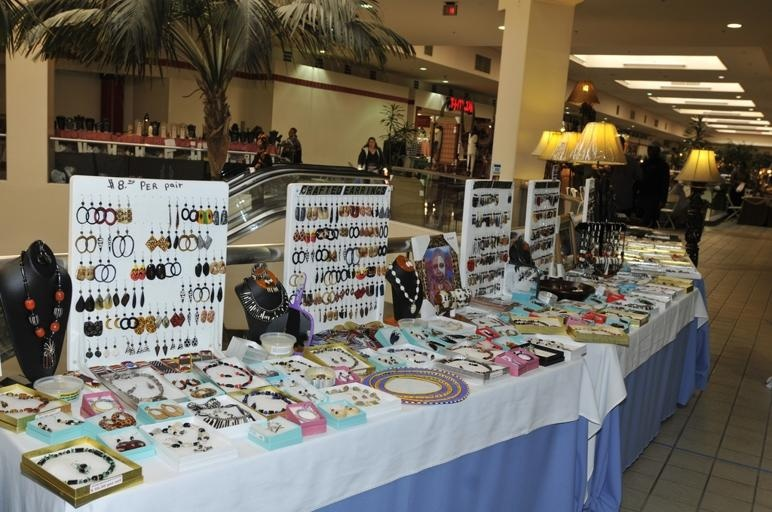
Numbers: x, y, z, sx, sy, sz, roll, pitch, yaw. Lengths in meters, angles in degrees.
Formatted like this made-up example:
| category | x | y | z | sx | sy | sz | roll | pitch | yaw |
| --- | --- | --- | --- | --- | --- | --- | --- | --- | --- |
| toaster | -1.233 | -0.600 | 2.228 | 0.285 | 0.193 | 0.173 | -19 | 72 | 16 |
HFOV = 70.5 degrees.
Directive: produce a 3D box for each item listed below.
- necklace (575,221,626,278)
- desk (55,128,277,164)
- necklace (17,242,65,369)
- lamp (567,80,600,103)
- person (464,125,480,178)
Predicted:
| category | x | y | z | sx | sy | sz | roll | pitch | yaw |
| --- | --- | --- | --- | --- | --- | --- | --- | --- | --- |
| necklace | 1.846 | -0.048 | 4.709 | 0.467 | 0.560 | 0.201 | 0 | 5 | 12 |
| desk | -4.394 | -2.135 | 10.849 | 4.038 | 0.612 | 0.882 | -10 | 16 | -43 |
| necklace | -1.441 | 0.225 | 2.347 | 0.173 | 0.574 | 0.181 | -6 | 14 | -30 |
| lamp | 2.886 | -2.392 | 7.948 | 0.361 | 0.375 | 1.032 | 5 | 13 | 18 |
| person | 2.104 | -2.544 | 13.481 | 0.291 | 1.038 | 0.193 | 3 | 1 | -20 |
